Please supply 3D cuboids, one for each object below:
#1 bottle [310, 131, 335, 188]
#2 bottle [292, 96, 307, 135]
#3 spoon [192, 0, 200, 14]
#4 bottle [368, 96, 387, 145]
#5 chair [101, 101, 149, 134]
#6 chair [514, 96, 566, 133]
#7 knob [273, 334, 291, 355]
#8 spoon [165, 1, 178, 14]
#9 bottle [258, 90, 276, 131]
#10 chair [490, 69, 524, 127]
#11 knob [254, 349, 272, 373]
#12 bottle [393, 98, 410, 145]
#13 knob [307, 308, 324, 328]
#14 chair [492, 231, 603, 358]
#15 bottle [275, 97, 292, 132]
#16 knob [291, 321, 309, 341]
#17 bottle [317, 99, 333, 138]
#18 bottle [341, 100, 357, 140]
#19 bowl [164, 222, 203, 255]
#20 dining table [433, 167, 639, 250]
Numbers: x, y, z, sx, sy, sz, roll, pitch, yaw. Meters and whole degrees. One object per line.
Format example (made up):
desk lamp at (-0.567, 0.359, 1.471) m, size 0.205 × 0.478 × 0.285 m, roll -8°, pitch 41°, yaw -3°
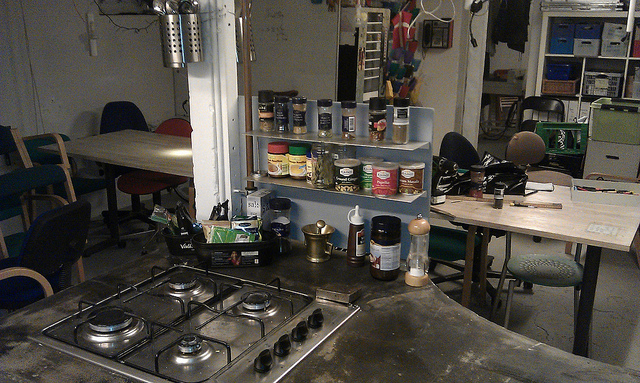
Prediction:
bottle at (0.013, -0.174, 2.973) m, size 0.152 × 0.290 × 0.115 m, roll -2°, pitch 16°, yaw -3°
bottle at (-0.134, -0.510, 3.040) m, size 0.099 × 0.243 × 0.113 m, roll -2°, pitch 16°, yaw -3°
spoon at (-0.822, -1.231, 3.006) m, size 0.032 × 0.076 × 0.067 m, roll 2°, pitch 15°, yaw 8°
bottle at (0.365, -0.451, 2.871) m, size 0.122 × 0.283 × 0.201 m, roll 1°, pitch 16°, yaw 6°
chair at (-2.695, -1.021, 6.288) m, size 0.465 × 0.569 × 0.497 m, roll -18°, pitch 46°, yaw -37°
chair at (3.666, -1.285, 7.524) m, size 0.713 × 0.597 × 1.760 m, roll 6°, pitch 15°, yaw 24°
knob at (-0.191, 0.800, 2.335) m, size 0.075 × 0.091 × 0.097 m, roll 2°, pitch -2°, yaw 16°
spoon at (-0.978, -1.211, 2.974) m, size 0.069 × 0.083 × 0.023 m, roll -20°, pitch 5°, yaw -14°
bottle at (-0.364, -0.556, 3.109) m, size 0.110 × 0.272 × 0.150 m, roll -4°, pitch 16°, yaw -11°
chair at (3.979, -2.016, 9.758) m, size 0.646 × 1.235 × 1.270 m, roll 5°, pitch 16°, yaw 21°
knob at (-0.281, 0.853, 2.258) m, size 0.078 × 0.068 × 0.099 m, roll 0°, pitch 10°, yaw -1°
bottle at (0.501, -0.434, 2.809) m, size 0.091 × 0.275 × 0.066 m, roll 0°, pitch 16°, yaw 5°
knob at (-0.021, 0.711, 2.531) m, size 0.074 × 0.084 × 0.095 m, roll -5°, pitch 15°, yaw -21°
chair at (2.076, 0.773, 4.089) m, size 0.815 × 1.054 × 1.280 m, roll 8°, pitch 17°, yaw 28°
bottle at (-0.258, -0.527, 3.112) m, size 0.192 × 0.236 × 0.179 m, roll 1°, pitch 15°, yaw 0°
knob at (-0.107, 0.750, 2.406) m, size 0.076 × 0.078 × 0.090 m, roll 2°, pitch 12°, yaw 0°
bottle at (0.034, -0.485, 2.991) m, size 0.100 × 0.242 × 0.145 m, roll -1°, pitch 16°, yaw 0°
bottle at (0.186, -0.459, 2.919) m, size 0.094 × 0.238 × 0.091 m, roll -1°, pitch 16°, yaw 0°
bowl at (-0.937, 0.323, 3.116) m, size 0.251 × 0.205 × 0.163 m, roll -2°, pitch 15°, yaw -6°
dining table at (1.930, 0.041, 3.981) m, size 1.556 × 0.471 × 1.118 m, roll 6°, pitch 15°, yaw 24°
